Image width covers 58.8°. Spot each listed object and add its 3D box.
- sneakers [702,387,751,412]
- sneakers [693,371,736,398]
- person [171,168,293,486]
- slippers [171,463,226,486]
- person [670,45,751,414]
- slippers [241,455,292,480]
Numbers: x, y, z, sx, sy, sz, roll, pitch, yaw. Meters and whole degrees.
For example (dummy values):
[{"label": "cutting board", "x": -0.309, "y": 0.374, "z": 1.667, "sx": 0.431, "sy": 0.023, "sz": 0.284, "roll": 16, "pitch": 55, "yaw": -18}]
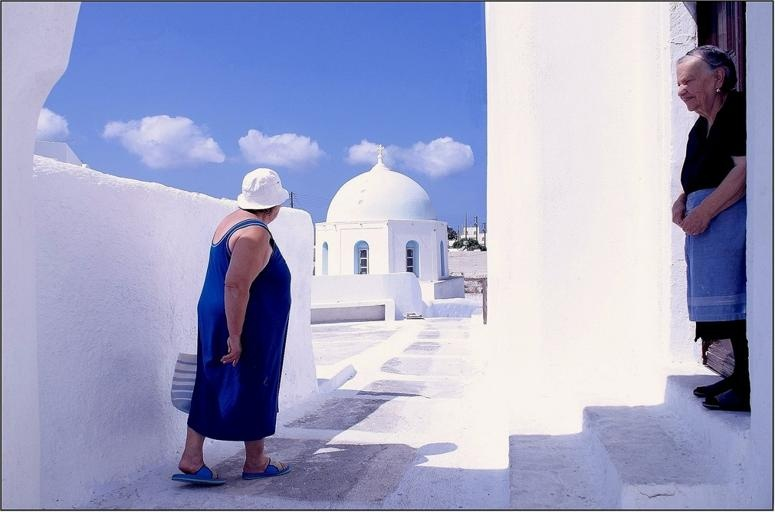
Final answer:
[{"label": "sneakers", "x": 2.199, "y": 0.944, "z": 4.488, "sx": 0.278, "sy": 0.087, "sz": 0.111, "roll": -4, "pitch": 1, "yaw": 12}, {"label": "sneakers", "x": 2.176, "y": 0.885, "z": 4.601, "sx": 0.292, "sy": 0.078, "sz": 0.115, "roll": -25, "pitch": 4, "yaw": 20}, {"label": "person", "x": -1.035, "y": 0.473, "z": 4.664, "sx": 0.745, "sy": 2.138, "sz": 0.350, "roll": -1, "pitch": 1, "yaw": -10}, {"label": "slippers", "x": -1.261, "y": 1.463, "z": 4.680, "sx": 0.370, "sy": 0.138, "sz": 0.148, "roll": 2, "pitch": -5, "yaw": 0}, {"label": "person", "x": 2.162, "y": -0.197, "z": 4.524, "sx": 0.341, "sy": 2.394, "sz": 0.630, "roll": -2, "pitch": 2, "yaw": -29}, {"label": "slippers", "x": -0.839, "y": 1.447, "z": 4.768, "sx": 0.245, "sy": 0.090, "sz": 0.143, "roll": -2, "pitch": -2, "yaw": -18}]
